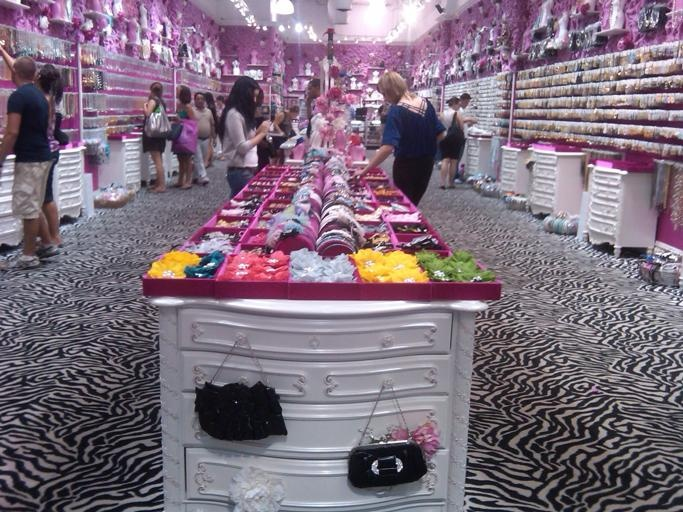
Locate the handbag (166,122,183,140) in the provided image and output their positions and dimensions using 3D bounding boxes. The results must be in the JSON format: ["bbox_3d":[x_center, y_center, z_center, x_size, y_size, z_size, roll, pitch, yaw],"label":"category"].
[{"bbox_3d":[-3.421,-2.604,9.510,0.369,0.377,0.133,4,-14,29],"label":"handbag"}]

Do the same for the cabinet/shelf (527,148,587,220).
[{"bbox_3d":[3.687,-1.207,7.653,0.510,1.223,0.925,-2,19,-6],"label":"cabinet/shelf"}]

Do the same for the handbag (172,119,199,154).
[{"bbox_3d":[-3.270,-2.502,9.479,0.645,0.855,0.477,1,18,-8],"label":"handbag"}]

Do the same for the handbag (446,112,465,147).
[{"bbox_3d":[2.658,-2.895,10.414,0.398,0.731,0.537,5,19,15],"label":"handbag"}]

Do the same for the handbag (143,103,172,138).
[{"bbox_3d":[-3.696,-2.678,9.095,0.496,0.616,0.353,-7,20,-22],"label":"handbag"}]

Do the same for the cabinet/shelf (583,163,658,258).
[{"bbox_3d":[3.805,-0.668,6.060,0.608,1.180,0.716,-2,18,-7],"label":"cabinet/shelf"}]

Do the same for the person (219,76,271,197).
[{"bbox_3d":[-1.009,-1.212,4.716,0.441,1.191,0.637,-8,20,-23],"label":"person"}]

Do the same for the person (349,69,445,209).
[{"bbox_3d":[0.589,-1.075,4.355,0.485,1.284,0.869,13,22,34],"label":"person"}]
